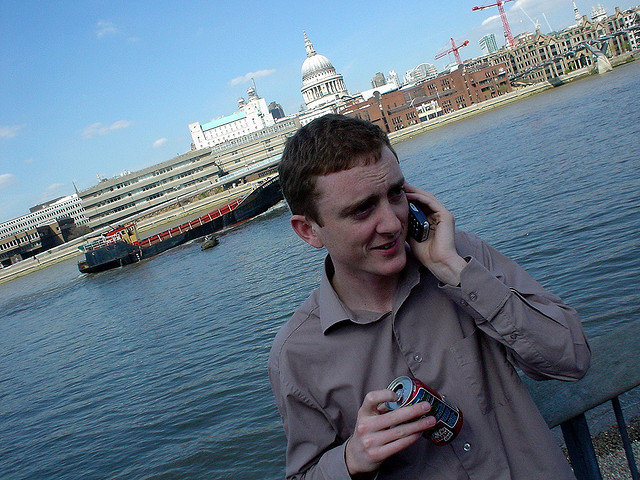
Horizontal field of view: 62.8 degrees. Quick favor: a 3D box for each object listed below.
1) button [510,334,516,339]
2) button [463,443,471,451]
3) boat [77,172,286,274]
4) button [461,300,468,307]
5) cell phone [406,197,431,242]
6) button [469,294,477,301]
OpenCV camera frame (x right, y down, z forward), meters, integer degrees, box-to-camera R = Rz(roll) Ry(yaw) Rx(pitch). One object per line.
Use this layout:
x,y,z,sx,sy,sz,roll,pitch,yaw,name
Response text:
0.783,0.388,2.137,0.020,0.019,0.006,-2,-7,16,button
0.578,0.816,2.082,0.028,0.027,0.006,-4,-8,8,button
-9.992,-0.882,37.119,14.181,2.637,3.196,-22,12,-9,boat
0.591,0.256,2.160,0.025,0.028,0.004,-12,16,36,button
0.414,-0.081,2.316,0.039,0.163,0.123,-20,-22,-42,cell phone
0.626,0.231,2.151,0.032,0.028,0.006,-22,12,-7,button
